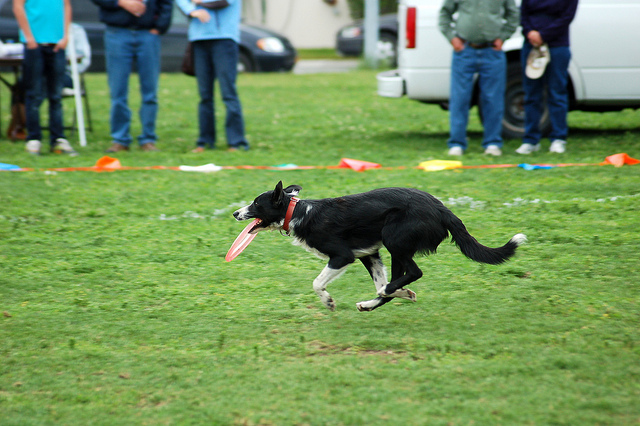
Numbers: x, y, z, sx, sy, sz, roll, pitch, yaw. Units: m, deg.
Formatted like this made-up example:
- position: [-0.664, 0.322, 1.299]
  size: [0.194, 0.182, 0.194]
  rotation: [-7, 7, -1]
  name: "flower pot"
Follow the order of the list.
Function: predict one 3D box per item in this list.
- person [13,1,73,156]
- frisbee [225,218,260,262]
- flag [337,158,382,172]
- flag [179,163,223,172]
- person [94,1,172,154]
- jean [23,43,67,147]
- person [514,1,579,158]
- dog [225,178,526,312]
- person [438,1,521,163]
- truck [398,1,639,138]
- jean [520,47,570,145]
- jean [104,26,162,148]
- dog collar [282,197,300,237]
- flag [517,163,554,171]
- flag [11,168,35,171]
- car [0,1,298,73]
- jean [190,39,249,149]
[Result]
- position: [-3.481, -1.717, 10.498]
  size: [0.660, 1.947, 0.631]
  rotation: [-4, 17, -13]
  name: "person"
- position: [-0.724, 0.215, 7.506]
  size: [0.298, 0.444, 0.561]
  rotation: [-1, 13, -7]
  name: "frisbee"
- position: [0.474, -0.591, 10.173]
  size: [0.531, 0.106, 0.418]
  rotation: [1, 10, 1]
  name: "flag"
- position: [-1.482, -0.555, 10.107]
  size: [0.516, 0.066, 0.208]
  rotation: [-1, 10, -7]
  name: "flag"
- position: [-2.379, -1.725, 10.550]
  size: [0.903, 1.924, 0.321]
  rotation: [-2, 17, -9]
  name: "person"
- position: [-3.496, -1.514, 10.418]
  size: [0.537, 1.206, 0.204]
  rotation: [-13, 21, -38]
  name: "jean"
- position: [2.780, -1.658, 10.307]
  size: [0.808, 1.896, 0.789]
  rotation: [4, 16, 12]
  name: "person"
- position: [0.480, 0.299, 7.203]
  size: [3.185, 0.898, 0.671]
  rotation: [-2, 0, 38]
  name: "dog"
- position: [1.908, -1.642, 10.246]
  size: [0.992, 1.938, 0.468]
  rotation: [3, 17, 8]
  name: "person"
- position: [2.642, -2.081, 10.986]
  size: [3.929, 1.112, 1.736]
  rotation: [-3, 13, 3]
  name: "truck"
- position: [2.795, -1.441, 10.234]
  size: [0.577, 1.210, 0.286]
  rotation: [3, 17, 10]
  name: "jean"
- position: [-2.384, -1.617, 10.597]
  size: [0.691, 1.540, 0.315]
  rotation: [-4, 17, -13]
  name: "jean"
- position: [-0.262, 0.024, 7.138]
  size: [0.095, 0.326, 0.149]
  rotation: [11, 19, 32]
  name: "dog collar"
- position: [2.553, -0.551, 9.770]
  size: [0.348, 0.079, 0.094]
  rotation: [-6, 2, 14]
  name: "flag"
- position: [-3.545, -0.517, 9.775]
  size: [0.217, 0.015, 0.192]
  rotation: [-1, 10, -10]
  name: "flag"
- position: [-2.505, -3.041, 13.674]
  size: [5.983, 1.081, 1.859]
  rotation: [-1, 10, -4]
  name: "car"
- position: [-1.306, -1.522, 10.684]
  size: [0.552, 1.425, 0.565]
  rotation: [-13, 21, -39]
  name: "jean"
